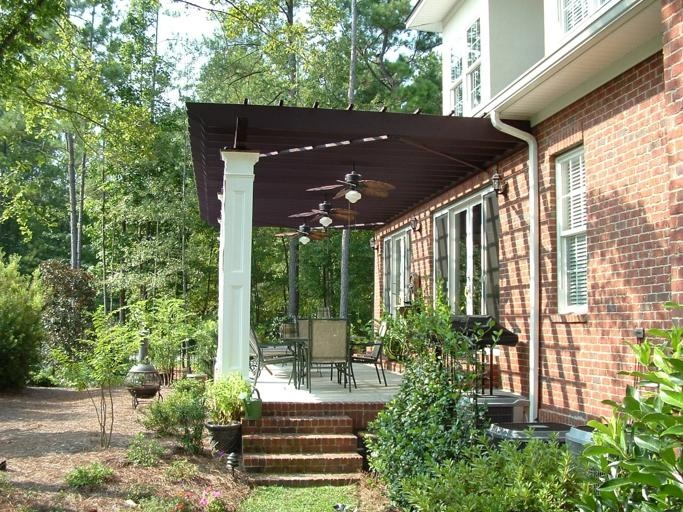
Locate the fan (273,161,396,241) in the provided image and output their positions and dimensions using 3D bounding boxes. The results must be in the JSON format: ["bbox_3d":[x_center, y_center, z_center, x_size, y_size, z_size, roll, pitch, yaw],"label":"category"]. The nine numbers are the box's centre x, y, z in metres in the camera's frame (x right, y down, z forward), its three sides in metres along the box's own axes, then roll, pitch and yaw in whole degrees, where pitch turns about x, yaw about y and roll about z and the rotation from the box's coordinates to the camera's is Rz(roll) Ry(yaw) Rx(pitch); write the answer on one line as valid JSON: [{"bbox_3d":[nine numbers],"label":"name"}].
[{"bbox_3d":[0.138,-0.917,12.724,1.498,1.293,1.861,4,-4,-33],"label":"fan"}]

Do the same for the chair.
[{"bbox_3d":[-0.277,1.444,11.161,1.242,2.136,1.197,1,-6,-7],"label":"chair"}]

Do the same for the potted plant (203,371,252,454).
[{"bbox_3d":[-1.493,2.020,9.401,0.555,0.957,0.614,3,-3,-13],"label":"potted plant"}]
